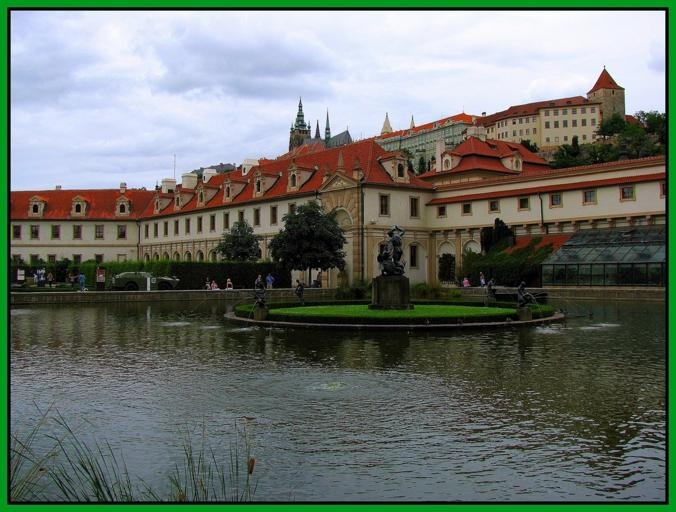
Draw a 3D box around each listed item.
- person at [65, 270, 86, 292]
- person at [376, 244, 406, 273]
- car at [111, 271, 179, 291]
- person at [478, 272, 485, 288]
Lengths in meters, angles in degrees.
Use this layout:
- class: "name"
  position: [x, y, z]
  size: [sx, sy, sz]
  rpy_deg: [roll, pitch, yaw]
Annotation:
- class: "person"
  position: [-18.204, 1.738, 63.688]
  size: [1.366, 1.709, 0.541]
  rpy_deg: [1, 3, 23]
- class: "person"
  position: [1.903, 0.132, 33.410]
  size: [0.861, 1.071, 0.934]
  rpy_deg: [-1, 5, 1]
- class: "car"
  position: [-11.549, 1.565, 54.494]
  size: [3.033, 0.913, 1.457]
  rpy_deg: [2, -4, -13]
- class: "person"
  position: [8.609, 1.354, 54.807]
  size: [0.376, 0.790, 1.089]
  rpy_deg: [0, 5, 6]
